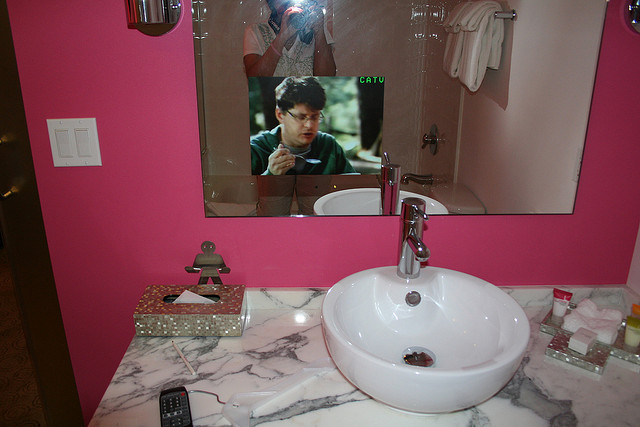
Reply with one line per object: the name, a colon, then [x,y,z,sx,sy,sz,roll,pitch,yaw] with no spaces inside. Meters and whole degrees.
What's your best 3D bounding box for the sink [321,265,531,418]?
sink: [0.324,0.385,1.493,0.628,0.277,0.451,-4,18,-9]
